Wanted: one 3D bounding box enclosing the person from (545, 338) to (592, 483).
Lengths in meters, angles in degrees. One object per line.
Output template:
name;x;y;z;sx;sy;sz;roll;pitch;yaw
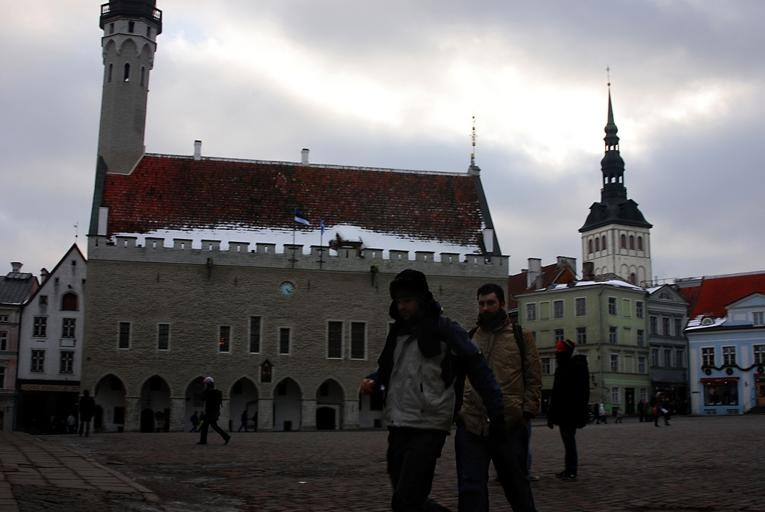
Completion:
person;3.725;3.071;20.956;0.851;2.820;1.124;-2;-11;7

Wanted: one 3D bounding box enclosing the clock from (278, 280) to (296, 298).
clock;-4.895;1.668;52.664;0.753;0.802;0.116;0;-12;-4

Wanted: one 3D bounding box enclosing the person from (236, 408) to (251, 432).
person;-6.971;8.098;51.615;0.409;1.070;0.478;-2;-11;6

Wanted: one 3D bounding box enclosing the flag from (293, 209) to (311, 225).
flag;-4.368;-2.037;55.348;0.128;0.747;0.956;-24;-22;37
